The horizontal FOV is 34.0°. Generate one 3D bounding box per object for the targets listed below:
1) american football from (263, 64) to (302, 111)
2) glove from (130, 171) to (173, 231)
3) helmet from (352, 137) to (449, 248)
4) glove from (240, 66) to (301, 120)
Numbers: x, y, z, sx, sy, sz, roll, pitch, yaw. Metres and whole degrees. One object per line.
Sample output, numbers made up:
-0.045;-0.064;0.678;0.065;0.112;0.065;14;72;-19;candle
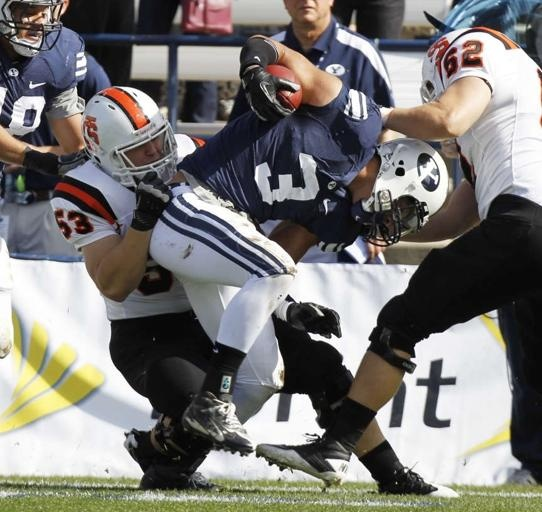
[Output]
0.051;-0.569;3.030;0.100;0.113;0.131;-2;-10;-4;american football
-0.408;-0.187;3.016;0.131;0.179;0.082;26;2;-10;glove
0.446;-0.207;3.338;0.396;0.355;0.320;-27;0;-2;helmet
-0.004;-0.531;3.057;0.152;0.167;0.199;27;2;-11;glove
